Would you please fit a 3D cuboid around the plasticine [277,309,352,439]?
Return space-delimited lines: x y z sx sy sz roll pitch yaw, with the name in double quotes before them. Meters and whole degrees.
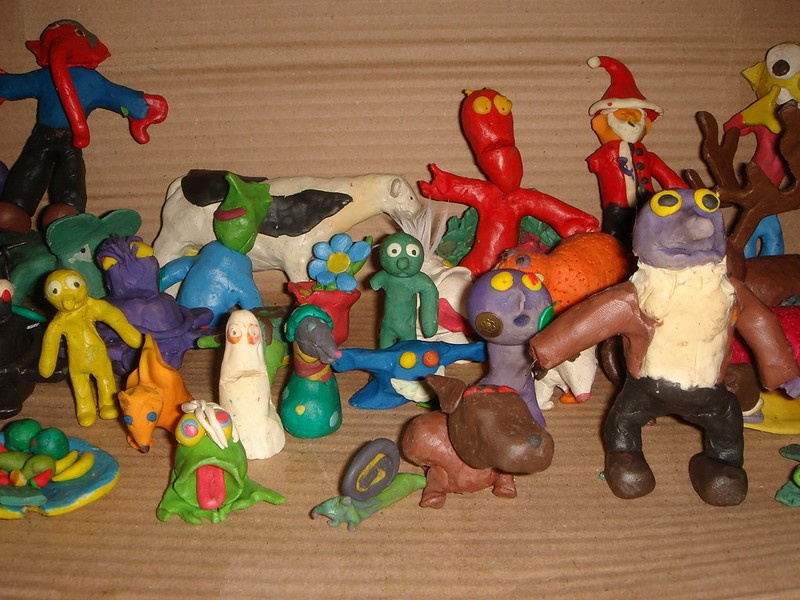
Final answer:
"plasticine" -0.237 0.207 2.871 0.179 0.385 0.188 -4 17 -24

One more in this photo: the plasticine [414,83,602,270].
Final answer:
"plasticine" 0.376 -0.414 3.350 0.657 0.600 0.187 5 8 5

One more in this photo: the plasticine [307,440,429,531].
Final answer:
"plasticine" -0.077 0.502 2.693 0.269 0.168 0.083 -23 46 -24

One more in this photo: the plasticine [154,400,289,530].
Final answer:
"plasticine" -0.476 0.426 2.702 0.339 0.302 0.159 0 16 -14

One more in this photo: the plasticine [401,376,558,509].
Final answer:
"plasticine" 0.214 0.342 2.712 0.311 0.305 0.421 -7 7 -40

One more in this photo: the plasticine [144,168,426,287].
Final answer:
"plasticine" -0.313 -0.256 3.436 1.151 0.418 0.330 2 9 -2

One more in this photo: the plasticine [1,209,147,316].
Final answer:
"plasticine" -1.071 -0.127 3.292 0.379 0.180 0.321 -14 -5 44

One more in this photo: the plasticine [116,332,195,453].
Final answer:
"plasticine" -0.635 0.264 2.871 0.216 0.309 0.262 -4 -28 0
